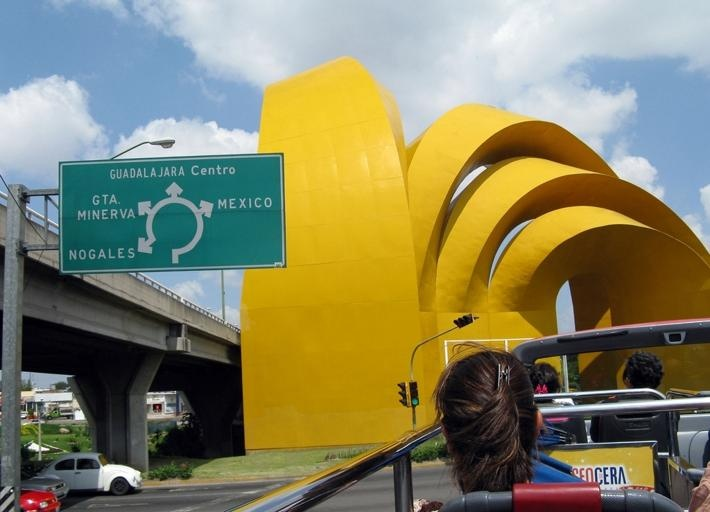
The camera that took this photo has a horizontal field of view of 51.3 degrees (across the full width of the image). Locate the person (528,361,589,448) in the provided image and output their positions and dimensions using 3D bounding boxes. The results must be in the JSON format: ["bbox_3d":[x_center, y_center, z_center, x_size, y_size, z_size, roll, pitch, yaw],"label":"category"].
[{"bbox_3d":[2.909,2.122,10.758,0.746,1.193,1.050,-5,-7,21],"label":"person"}]

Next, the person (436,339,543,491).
[{"bbox_3d":[1.617,1.874,9.154,1.031,1.306,2.237,-2,-52,9],"label":"person"}]

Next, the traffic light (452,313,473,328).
[{"bbox_3d":[4.157,2.480,27.950,0.870,0.358,0.598,-11,6,-3],"label":"traffic light"}]

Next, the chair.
[{"bbox_3d":[3.259,2.162,9.973,1.248,1.354,1.244,0,-4,7],"label":"chair"}]
